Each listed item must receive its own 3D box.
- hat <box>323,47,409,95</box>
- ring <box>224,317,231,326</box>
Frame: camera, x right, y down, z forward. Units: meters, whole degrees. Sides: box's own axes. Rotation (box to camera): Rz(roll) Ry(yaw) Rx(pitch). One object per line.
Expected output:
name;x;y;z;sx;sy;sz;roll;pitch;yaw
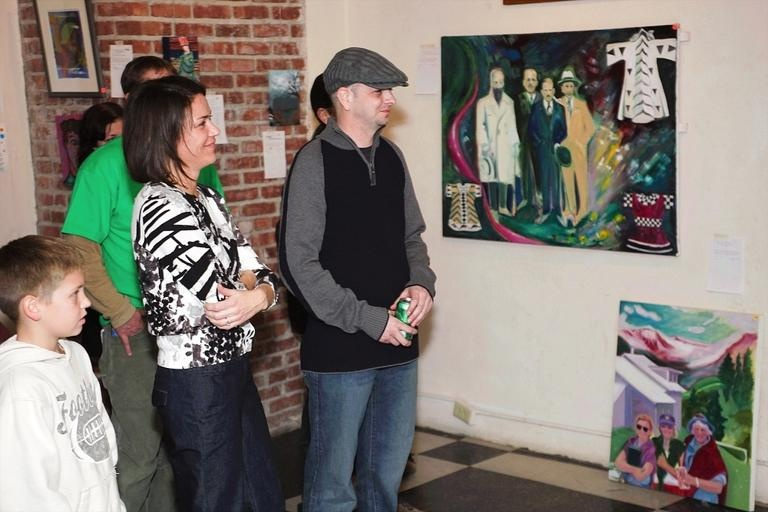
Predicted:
hat;-0.091;-0.835;2.905;0.307;0.146;0.207;-5;20;13
ring;-0.601;0.247;2.459;0.035;0.034;0.009;3;-1;-9
